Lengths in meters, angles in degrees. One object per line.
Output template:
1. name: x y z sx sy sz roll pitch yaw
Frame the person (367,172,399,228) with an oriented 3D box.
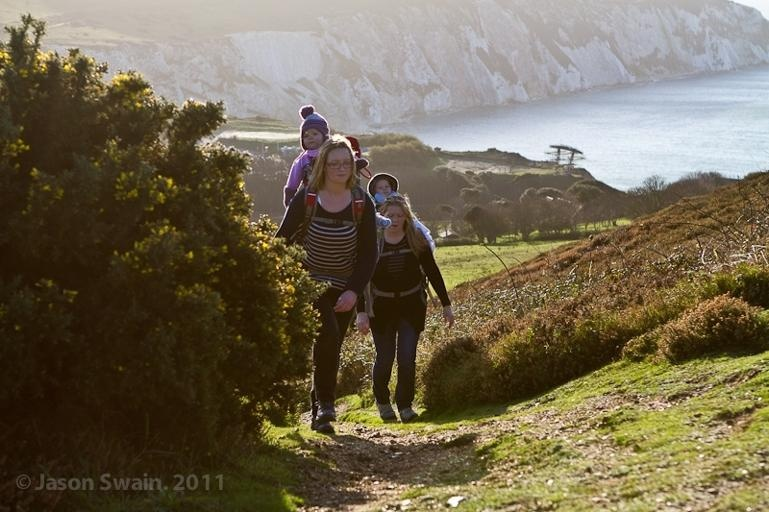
1. person: -0.013 -0.906 12.962 0.492 1.458 0.506 -8 -44 10

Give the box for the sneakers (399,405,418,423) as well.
1. sneakers: 0.369 2.414 11.070 0.280 0.210 0.382 -6 -8 1

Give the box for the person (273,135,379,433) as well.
1. person: -0.695 0.358 9.678 1.183 3.931 1.029 -11 -10 33
